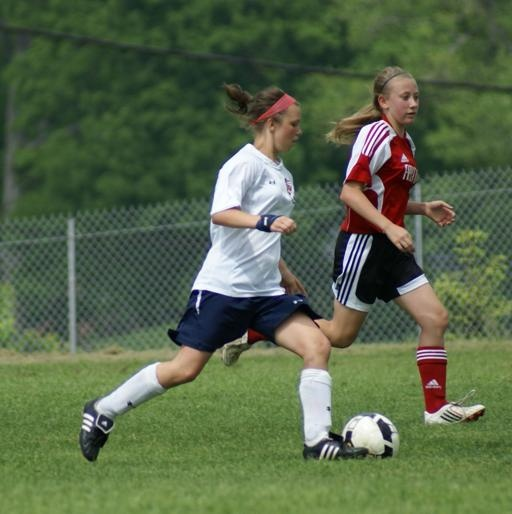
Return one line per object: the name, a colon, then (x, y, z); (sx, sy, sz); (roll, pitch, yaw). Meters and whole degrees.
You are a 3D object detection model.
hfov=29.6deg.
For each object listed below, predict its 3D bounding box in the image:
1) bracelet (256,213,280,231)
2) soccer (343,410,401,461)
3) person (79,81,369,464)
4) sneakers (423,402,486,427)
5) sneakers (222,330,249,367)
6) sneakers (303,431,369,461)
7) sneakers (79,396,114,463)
bracelet: (0.058, -0.183, 4.956); (0.075, 0.040, 0.096); (10, 42, 9)
soccer: (0.639, 0.960, 5.174); (0.251, 0.244, 0.231); (4, -11, -38)
person: (-0.052, 0.051, 5.265); (1.360, 1.868, 0.959); (1, 16, 5)
sneakers: (1.215, 0.937, 5.957); (0.398, 0.155, 0.140); (-12, -4, -6)
sneakers: (-0.144, 0.627, 6.442); (0.273, 0.128, 0.162); (-40, 3, -17)
sneakers: (0.419, 0.997, 5.114); (0.388, 0.166, 0.127); (-3, -7, 1)
sneakers: (-0.882, 0.861, 5.243); (0.133, 0.109, 0.318); (31, 17, -30)
